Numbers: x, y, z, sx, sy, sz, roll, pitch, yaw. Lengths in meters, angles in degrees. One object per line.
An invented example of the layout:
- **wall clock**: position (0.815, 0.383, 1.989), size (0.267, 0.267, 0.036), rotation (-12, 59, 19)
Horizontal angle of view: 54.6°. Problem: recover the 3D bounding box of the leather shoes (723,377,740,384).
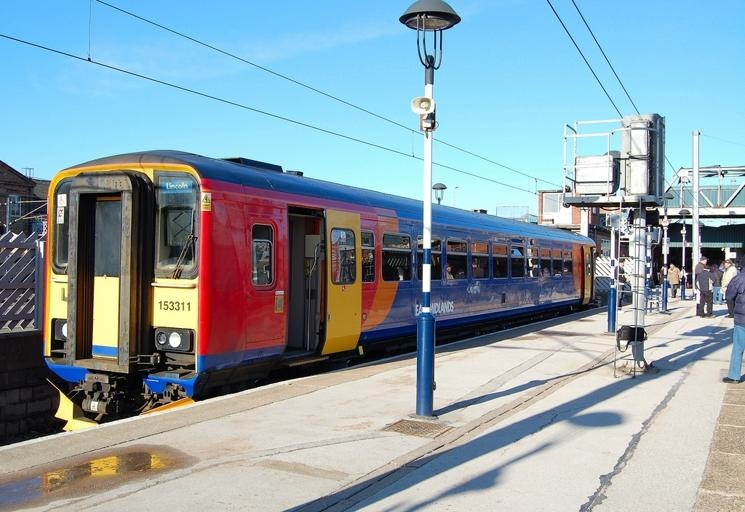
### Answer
- **leather shoes**: position (6.670, 2.289, 13.517), size (0.258, 0.100, 0.110), rotation (4, 2, 18)
